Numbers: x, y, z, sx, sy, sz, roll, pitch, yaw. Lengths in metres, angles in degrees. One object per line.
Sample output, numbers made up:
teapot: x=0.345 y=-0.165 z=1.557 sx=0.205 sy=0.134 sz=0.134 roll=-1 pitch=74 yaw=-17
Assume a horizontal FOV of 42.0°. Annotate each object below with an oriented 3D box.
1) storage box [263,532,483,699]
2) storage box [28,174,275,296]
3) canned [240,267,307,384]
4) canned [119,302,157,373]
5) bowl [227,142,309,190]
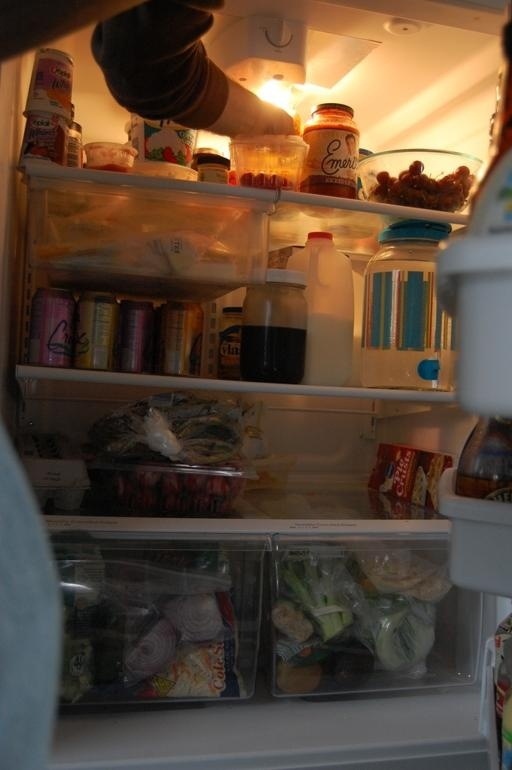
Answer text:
storage box: x=0.132 y=0.370 z=1.105 sx=0.356 sy=0.232 sz=0.192 roll=5 pitch=-14 yaw=-18
storage box: x=-0.147 y=-0.191 z=0.948 sx=0.239 sy=0.099 sz=0.177 roll=0 pitch=4 yaw=-16
canned: x=0.032 y=-0.094 z=1.129 sx=0.117 sy=0.180 sz=0.108 roll=3 pitch=3 yaw=0
canned: x=-0.180 y=-0.069 z=1.018 sx=0.052 sy=0.118 sz=0.044 roll=17 pitch=-27 yaw=-39
bowl: x=0.019 y=-0.343 z=1.095 sx=0.119 sy=0.075 sz=0.088 roll=-1 pitch=8 yaw=-11
